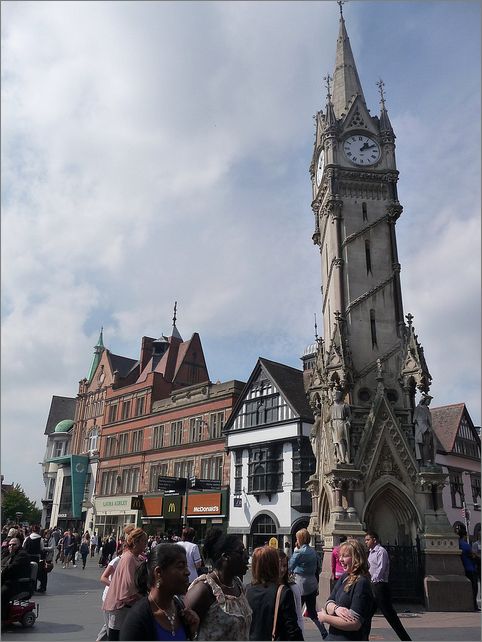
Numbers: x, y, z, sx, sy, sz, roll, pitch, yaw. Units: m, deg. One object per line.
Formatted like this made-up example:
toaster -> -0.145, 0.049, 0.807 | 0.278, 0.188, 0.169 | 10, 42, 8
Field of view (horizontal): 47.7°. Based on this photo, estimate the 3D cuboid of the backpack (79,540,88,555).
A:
backpack -> -7.826, 11.233, 26.973 | 0.269, 0.643, 0.914 | 9, -22, -21

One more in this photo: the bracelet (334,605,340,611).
bracelet -> 0.765, 2.299, 4.369 | 0.031, 0.010, 0.032 | -27, -11, -18

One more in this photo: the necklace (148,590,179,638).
necklace -> -0.406, 1.535, 2.862 | 0.131, 0.181, 0.052 | 21, -72, -42

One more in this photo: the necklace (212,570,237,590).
necklace -> -0.114, 1.686, 3.504 | 0.104, 0.082, 0.162 | 16, 8, -20

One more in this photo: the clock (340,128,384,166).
clock -> 4.241, -6.154, 19.407 | 1.602, 1.514, 0.106 | 7, -28, -12

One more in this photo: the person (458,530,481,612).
person -> 5.546, 5.978, 13.188 | 0.366, 1.832, 1.251 | -7, -22, 19
